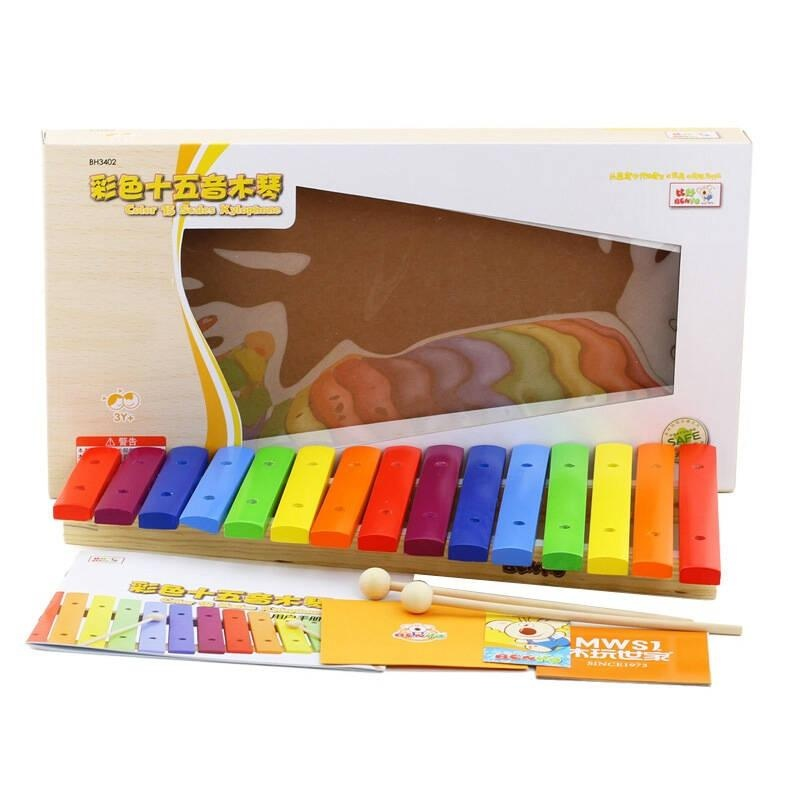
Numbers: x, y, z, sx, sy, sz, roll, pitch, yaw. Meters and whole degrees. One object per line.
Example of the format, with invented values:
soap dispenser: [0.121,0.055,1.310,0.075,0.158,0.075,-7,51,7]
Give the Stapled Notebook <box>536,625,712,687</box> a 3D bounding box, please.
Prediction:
Stapled Notebook: [0.459,0.525,1.672,0.343,0.059,0.199,5,8,9]
